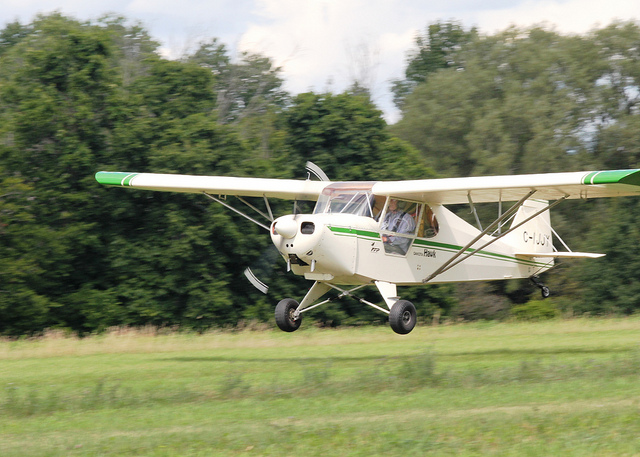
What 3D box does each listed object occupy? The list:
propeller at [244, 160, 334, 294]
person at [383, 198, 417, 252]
[{"bbox_3d":[-0.974,-0.028,16.678,1.529,0.400,4.226,6,25,-29],"label":"propeller"},{"bbox_3d":[1.719,-0.074,17.339,0.286,1.238,1.034,-1,5,39],"label":"person"}]
